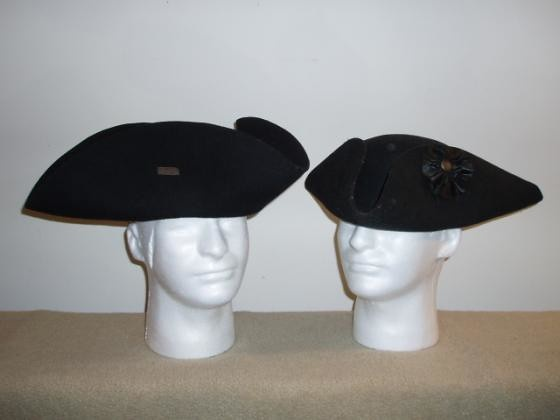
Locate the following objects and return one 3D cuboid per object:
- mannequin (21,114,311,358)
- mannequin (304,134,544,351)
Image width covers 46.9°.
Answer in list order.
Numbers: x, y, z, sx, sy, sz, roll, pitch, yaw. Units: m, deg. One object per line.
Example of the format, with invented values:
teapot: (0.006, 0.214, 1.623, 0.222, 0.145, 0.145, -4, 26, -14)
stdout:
mannequin: (-0.679, 0.243, 3.335, 1.356, 0.980, 1.215, -2, 4, -35)
mannequin: (0.708, 0.141, 3.576, 1.339, 1.143, 1.055, 8, 14, 27)
